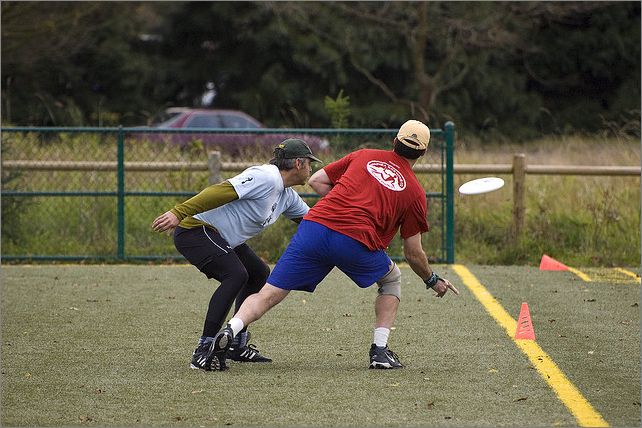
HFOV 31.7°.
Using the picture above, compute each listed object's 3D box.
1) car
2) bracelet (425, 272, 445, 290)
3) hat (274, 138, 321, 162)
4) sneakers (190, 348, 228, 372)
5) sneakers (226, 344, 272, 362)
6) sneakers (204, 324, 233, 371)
[{"bbox_3d":[-1.502,-1.427,18.851,3.417,1.230,1.510,-1,4,-5],"label":"car"},{"bbox_3d":[1.373,0.805,13.552,0.219,0.095,0.167,1,3,-2],"label":"bracelet"},{"bbox_3d":[-0.321,-0.773,13.506,0.411,0.255,0.278,1,4,-16],"label":"hat"},{"bbox_3d":[-1.326,1.710,13.330,0.531,0.264,0.200,-14,-17,43],"label":"sneakers"},{"bbox_3d":[-0.886,1.689,13.662,0.576,0.279,0.208,3,-3,-6],"label":"sneakers"},{"bbox_3d":[-1.182,1.597,13.301,0.240,0.642,0.290,22,17,-5],"label":"sneakers"}]
